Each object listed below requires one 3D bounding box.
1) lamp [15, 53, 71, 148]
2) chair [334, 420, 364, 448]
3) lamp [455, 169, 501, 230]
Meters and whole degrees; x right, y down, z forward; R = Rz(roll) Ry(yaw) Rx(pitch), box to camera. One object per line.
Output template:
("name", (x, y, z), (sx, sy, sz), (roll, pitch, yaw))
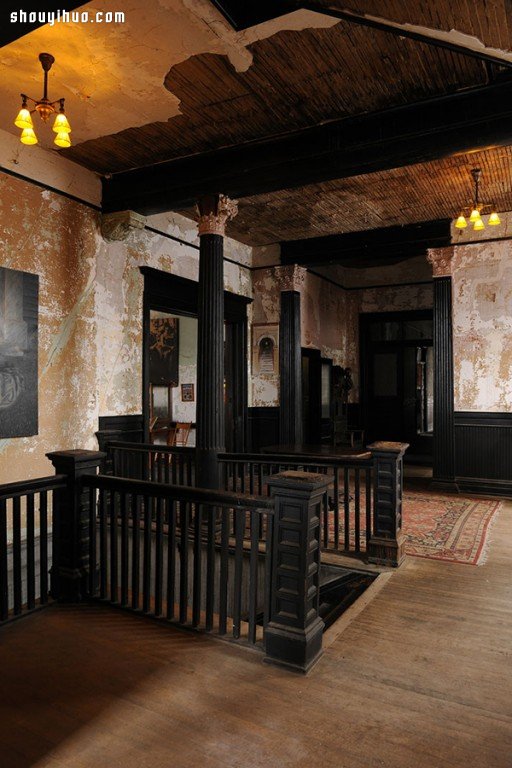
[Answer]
("lamp", (-1.446, -1.998, 3.778), (0.351, 0.456, 0.258), (6, 12, -7))
("chair", (1.932, 1.057, 11.431), (0.516, 0.500, 1.453), (1, -1, 14))
("lamp", (2.437, -2.093, 6.086), (0.545, 0.612, 0.521), (-18, 19, -24))
